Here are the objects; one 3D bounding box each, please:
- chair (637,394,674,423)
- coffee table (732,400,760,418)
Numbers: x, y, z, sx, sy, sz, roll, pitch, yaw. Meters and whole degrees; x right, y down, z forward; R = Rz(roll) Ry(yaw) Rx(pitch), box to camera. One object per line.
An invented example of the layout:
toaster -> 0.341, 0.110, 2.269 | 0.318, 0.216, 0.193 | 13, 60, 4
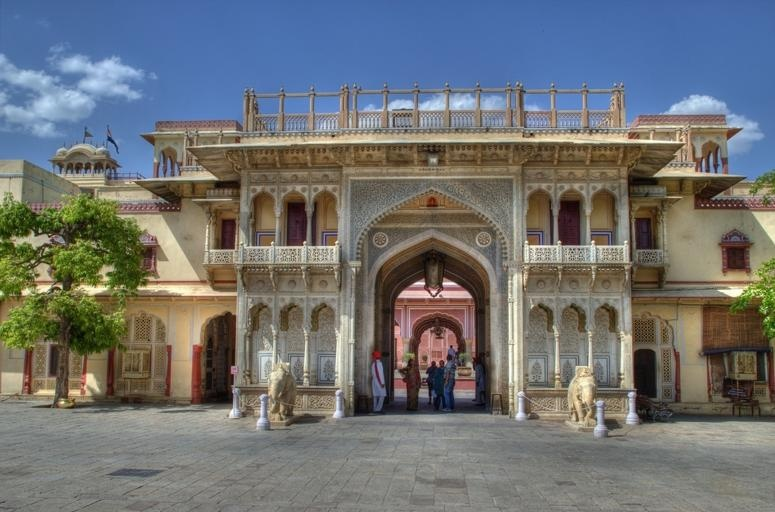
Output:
chair -> 9.460, 5.493, 30.234 | 0.625, 0.669, 1.830 | 0, -1, 8
coffee table -> 13.550, 5.738, 32.513 | 1.050, 0.565, 0.544 | -4, -11, 21
